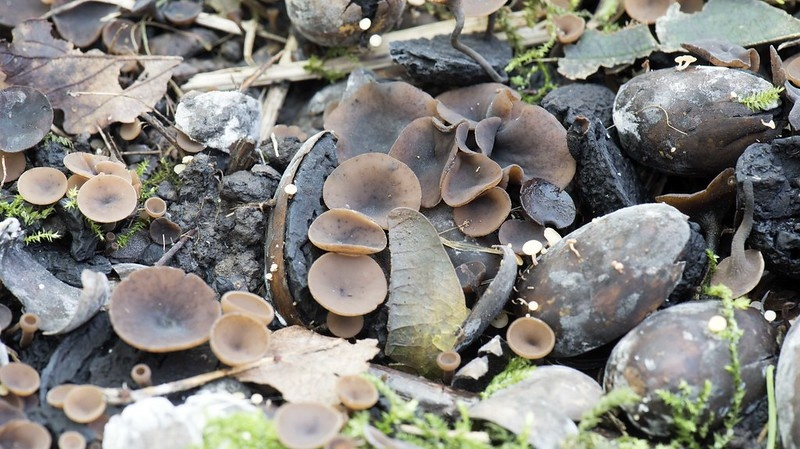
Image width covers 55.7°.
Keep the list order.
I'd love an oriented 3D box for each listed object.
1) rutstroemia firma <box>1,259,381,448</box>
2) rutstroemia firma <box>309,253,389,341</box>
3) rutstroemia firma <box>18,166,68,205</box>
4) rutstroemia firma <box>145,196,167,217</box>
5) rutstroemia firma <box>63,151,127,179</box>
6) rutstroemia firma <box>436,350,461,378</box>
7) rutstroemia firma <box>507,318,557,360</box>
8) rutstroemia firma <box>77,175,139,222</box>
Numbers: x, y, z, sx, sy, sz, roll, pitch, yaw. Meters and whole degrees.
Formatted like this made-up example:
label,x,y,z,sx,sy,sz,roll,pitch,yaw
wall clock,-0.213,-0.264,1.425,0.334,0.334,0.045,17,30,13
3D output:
label,x,y,z,sx,sy,sz,roll,pitch,yaw
rutstroemia firma,-1.256,0.883,4.954,1.742,0.350,1.535,-15,69,-11
rutstroemia firma,-0.418,0.553,5.846,0.625,0.458,0.609,35,70,-5
rutstroemia firma,-2.692,-0.293,5.690,0.339,0.107,0.302,-13,83,0
rutstroemia firma,-1.906,-0.134,5.867,0.184,0.119,0.114,1,79,-17
rutstroemia firma,-2.371,-0.462,5.870,0.297,0.103,0.277,4,26,-19
rutstroemia firma,0.348,1.019,5.482,0.182,0.288,0.184,-7,63,0
rutstroemia firma,0.950,0.822,5.480,0.363,0.233,0.302,8,83,2
rutstroemia firma,-2.196,-0.193,5.669,0.376,0.123,0.368,-28,84,-29
